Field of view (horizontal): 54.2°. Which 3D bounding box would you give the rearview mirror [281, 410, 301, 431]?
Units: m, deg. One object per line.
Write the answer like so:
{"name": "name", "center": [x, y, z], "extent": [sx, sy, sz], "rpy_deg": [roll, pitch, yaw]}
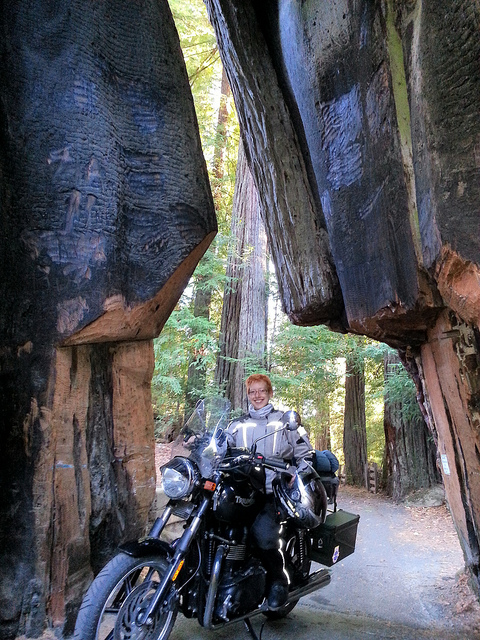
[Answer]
{"name": "rearview mirror", "center": [0.309, 0.580, 2.794], "extent": [0.094, 0.091, 0.118], "rpy_deg": [3, 10, 3]}
